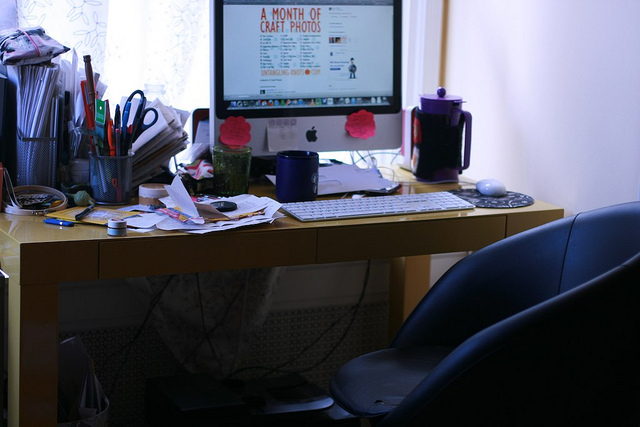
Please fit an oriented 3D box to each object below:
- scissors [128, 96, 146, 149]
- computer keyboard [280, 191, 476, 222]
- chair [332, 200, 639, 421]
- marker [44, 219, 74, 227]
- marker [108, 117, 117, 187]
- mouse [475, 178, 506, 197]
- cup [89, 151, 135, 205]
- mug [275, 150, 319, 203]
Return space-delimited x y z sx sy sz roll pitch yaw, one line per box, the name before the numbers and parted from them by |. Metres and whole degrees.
scissors | -0.527 -0.277 1.537 0.014 0.185 0.025 21 -5 -38
computer keyboard | 0.165 -0.026 1.517 0.569 0.025 0.181 -4 15 -17
chair | 0.405 0.231 1.402 0.644 0.704 0.589 -1 12 -6
marker | -0.645 0.021 1.286 0.047 0.007 0.028 6 5 8
marker | -0.583 -0.164 1.464 0.033 0.034 0.291 -3 -31 -24
mouse | 0.552 -0.087 1.676 0.085 0.045 0.123 8 17 28
cup | -0.592 -0.115 1.523 0.135 0.140 0.130 3 15 -1
mug | -0.070 -0.110 1.592 0.138 0.143 0.131 11 15 35
